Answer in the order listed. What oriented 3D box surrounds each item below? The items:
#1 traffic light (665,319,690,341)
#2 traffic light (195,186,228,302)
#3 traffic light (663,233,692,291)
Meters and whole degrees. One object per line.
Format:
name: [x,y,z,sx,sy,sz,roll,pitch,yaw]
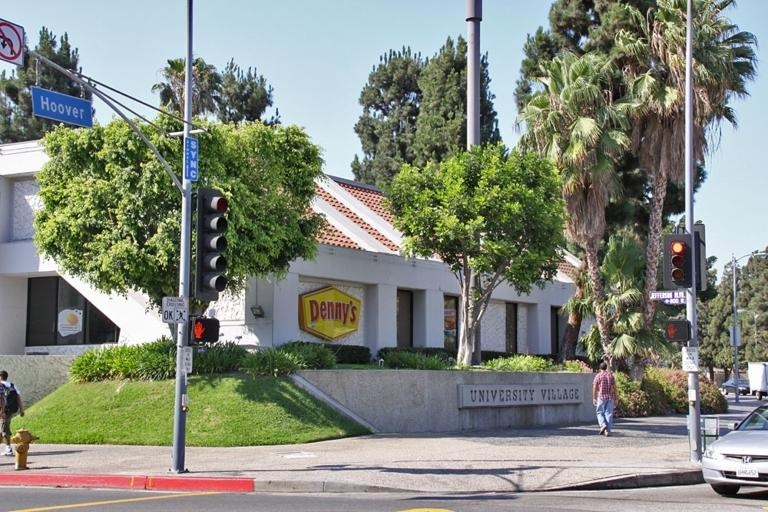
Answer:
traffic light: [9.387,2.345,32.959,0.800,0.767,0.509,3,9,17]
traffic light: [-5.337,-0.350,31.698,1.012,3.416,1.059,-2,9,-10]
traffic light: [9.381,0.140,32.904,0.888,1.705,0.516,1,9,8]
